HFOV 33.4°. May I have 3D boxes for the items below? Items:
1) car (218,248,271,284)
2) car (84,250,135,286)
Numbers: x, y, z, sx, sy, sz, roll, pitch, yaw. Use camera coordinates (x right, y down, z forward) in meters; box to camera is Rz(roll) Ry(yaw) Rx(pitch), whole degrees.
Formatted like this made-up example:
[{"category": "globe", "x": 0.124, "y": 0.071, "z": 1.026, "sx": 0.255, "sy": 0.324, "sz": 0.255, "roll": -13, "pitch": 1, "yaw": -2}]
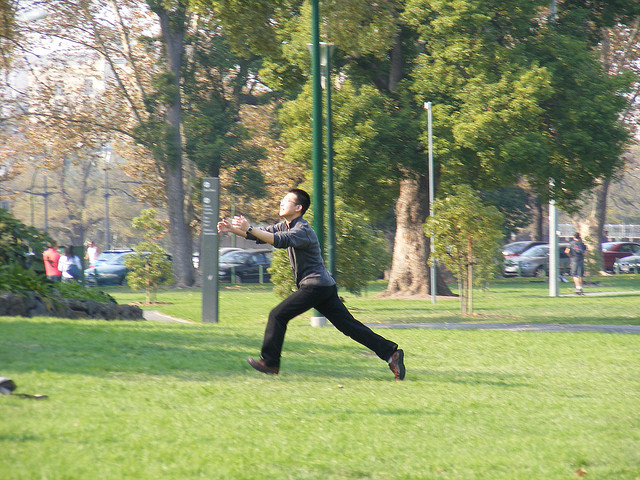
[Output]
[{"category": "car", "x": -3.664, "y": 1.279, "z": 46.240, "sx": 2.435, "sy": 1.620, "sz": 2.294, "roll": 0, "pitch": 4, "yaw": -41}, {"category": "car", "x": -8.787, "y": 1.205, "z": 45.001, "sx": 1.882, "sy": 0.997, "sz": 3.286, "roll": 0, "pitch": 2, "yaw": -2}]
